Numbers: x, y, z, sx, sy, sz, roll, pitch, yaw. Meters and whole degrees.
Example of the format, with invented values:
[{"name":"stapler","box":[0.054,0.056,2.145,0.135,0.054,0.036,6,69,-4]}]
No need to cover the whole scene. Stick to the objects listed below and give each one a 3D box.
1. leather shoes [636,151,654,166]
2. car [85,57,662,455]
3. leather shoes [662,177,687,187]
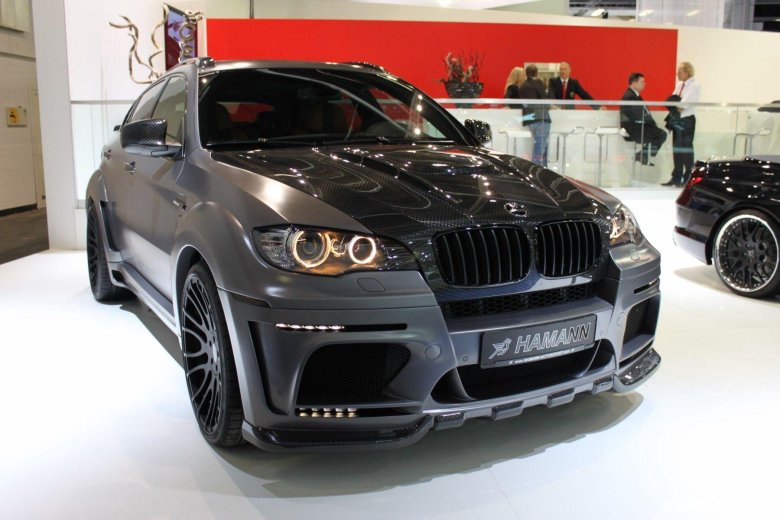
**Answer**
[{"name":"leather shoes","box":[4.537,-1.885,8.531,0.435,0.175,0.128,4,21,-15]},{"name":"car","box":[-0.645,-0.083,3.281,2.066,1.468,3.548,-4,9,-32]},{"name":"leather shoes","box":[5.155,-1.455,8.632,0.474,0.194,0.159,4,5,4]}]
